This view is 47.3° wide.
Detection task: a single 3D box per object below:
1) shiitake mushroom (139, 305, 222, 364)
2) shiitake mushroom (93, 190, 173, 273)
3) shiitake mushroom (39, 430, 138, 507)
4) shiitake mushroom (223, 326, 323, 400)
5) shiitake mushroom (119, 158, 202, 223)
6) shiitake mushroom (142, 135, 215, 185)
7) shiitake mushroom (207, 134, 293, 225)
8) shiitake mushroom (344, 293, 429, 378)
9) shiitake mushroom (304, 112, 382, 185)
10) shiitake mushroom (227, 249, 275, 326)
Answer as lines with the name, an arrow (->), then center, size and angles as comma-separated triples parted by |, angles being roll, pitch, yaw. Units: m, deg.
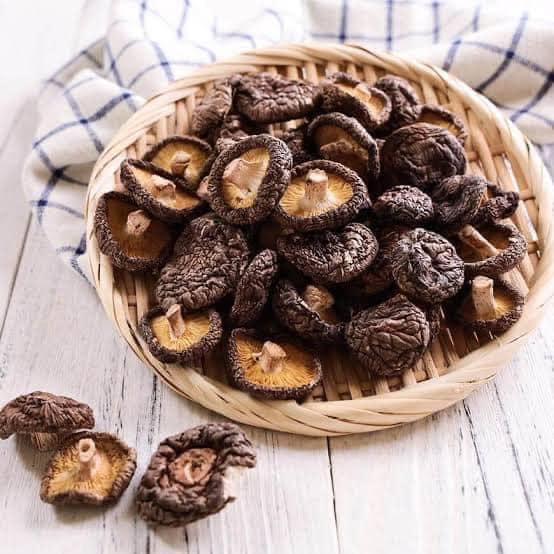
shiitake mushroom -> -0.445, 0.256, 2.923 | 0.385, 0.080, 0.280 | -2, 55, -2
shiitake mushroom -> -0.729, -0.208, 3.158 | 0.481, 0.182, 0.385 | -1, 72, -21
shiitake mushroom -> -0.803, 0.795, 2.681 | 0.382, 0.198, 0.322 | 6, 57, 4
shiitake mushroom -> -0.022, 0.413, 2.892 | 0.416, 0.131, 0.362 | 33, 30, 23
shiitake mushroom -> -0.647, -0.521, 3.336 | 0.225, 0.375, 0.526 | -1, 21, 14
shiitake mushroom -> -0.507, -0.647, 3.433 | 0.375, 0.118, 0.328 | -30, 64, -20
shiitake mushroom -> -0.118, -0.449, 2.960 | 0.429, 0.235, 0.429 | 27, 89, 50
shiitake mushroom -> 0.531, 0.285, 2.927 | 0.452, 0.193, 0.357 | -23, 62, 33
shiitake mushroom -> 0.385, -0.659, 3.220 | 0.401, 0.356, 0.141 | 42, 71, -19
shiitake mushroom -> -0.108, 0.051, 2.929 | 0.113, 0.218, 0.326 | 16, 104, -9
